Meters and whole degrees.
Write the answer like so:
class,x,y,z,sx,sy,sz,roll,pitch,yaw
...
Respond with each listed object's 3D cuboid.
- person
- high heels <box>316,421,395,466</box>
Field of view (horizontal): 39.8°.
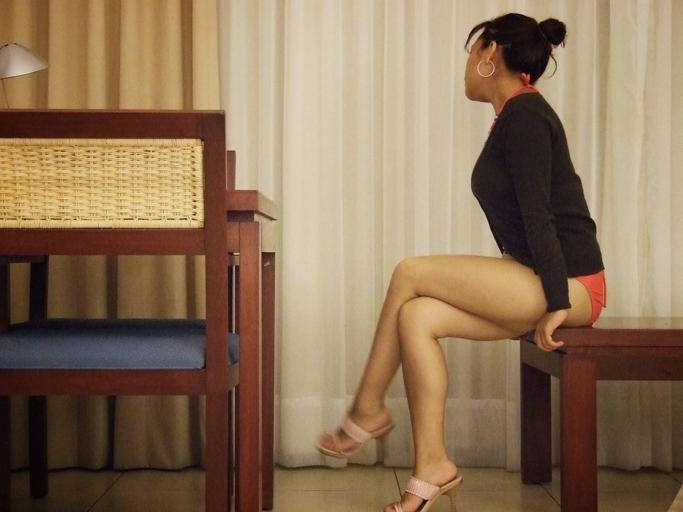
class,x,y,z,sx,sy,sz,roll,pitch,yaw
person,0.449,0.155,3.279,0.856,1.456,0.366,-2,-4,26
high heels,0.050,0.645,3.325,0.250,0.095,0.128,-22,17,-4
